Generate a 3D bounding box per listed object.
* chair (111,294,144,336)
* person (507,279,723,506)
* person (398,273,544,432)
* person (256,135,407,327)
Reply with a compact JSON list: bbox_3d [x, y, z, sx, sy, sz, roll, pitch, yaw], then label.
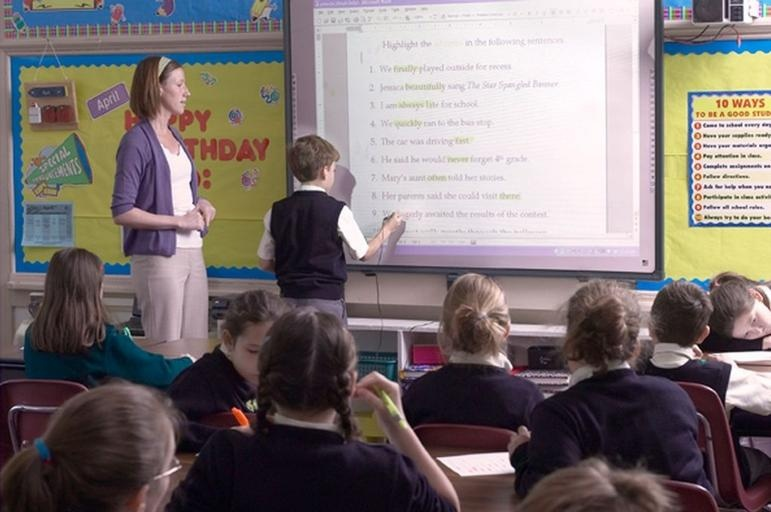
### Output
[{"bbox_3d":[-1.627,0.368,5.116,0.240,0.219,0.191,3,-29,8],"label":"chair"},{"bbox_3d":[0.816,0.495,3.337,0.876,1.320,0.745,-1,5,1],"label":"person"},{"bbox_3d":[0.460,0.487,4.061,0.691,0.855,0.418,2,-30,5],"label":"person"},{"bbox_3d":[-0.341,0.153,4.806,0.857,1.578,0.580,2,1,8],"label":"person"}]
